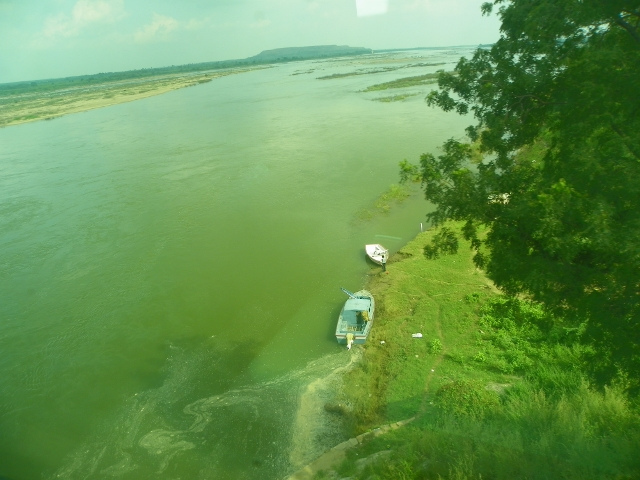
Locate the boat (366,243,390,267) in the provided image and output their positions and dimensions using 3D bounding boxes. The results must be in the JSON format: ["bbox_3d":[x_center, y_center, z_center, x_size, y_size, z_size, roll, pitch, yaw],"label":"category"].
[{"bbox_3d":[5.590,1.459,52.040,1.586,0.892,2.399,-11,38,-19],"label":"boat"}]

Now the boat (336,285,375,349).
[{"bbox_3d":[2.820,6.651,46.015,3.407,2.479,6.895,1,28,8],"label":"boat"}]
